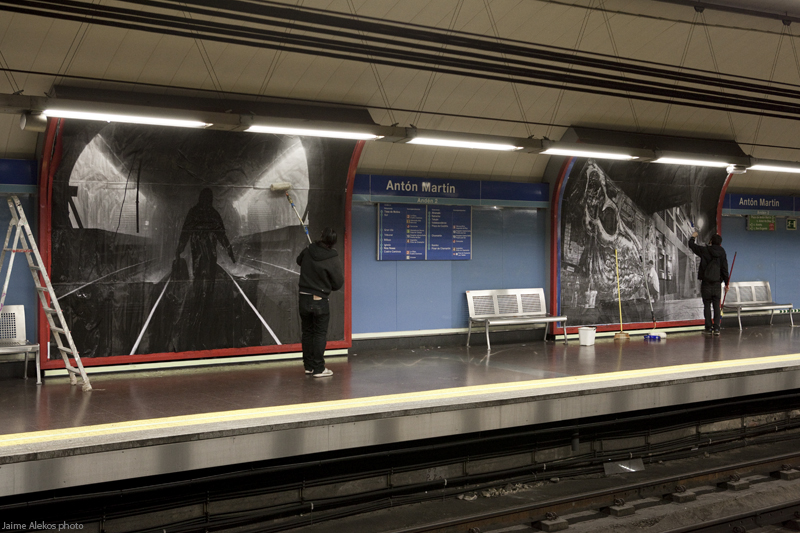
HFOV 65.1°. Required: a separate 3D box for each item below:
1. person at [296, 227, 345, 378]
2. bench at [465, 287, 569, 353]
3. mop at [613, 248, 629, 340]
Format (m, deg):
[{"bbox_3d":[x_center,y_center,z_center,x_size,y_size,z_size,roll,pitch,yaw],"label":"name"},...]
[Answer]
[{"bbox_3d":[-1.227,0.554,9.668,0.713,2.217,0.406,-2,-2,1],"label":"person"},{"bbox_3d":[2.295,0.981,12.446,1.968,1.092,0.696,-1,-2,-23],"label":"bench"},{"bbox_3d":[4.646,0.548,13.264,0.236,1.894,0.556,-2,-2,18],"label":"mop"}]
